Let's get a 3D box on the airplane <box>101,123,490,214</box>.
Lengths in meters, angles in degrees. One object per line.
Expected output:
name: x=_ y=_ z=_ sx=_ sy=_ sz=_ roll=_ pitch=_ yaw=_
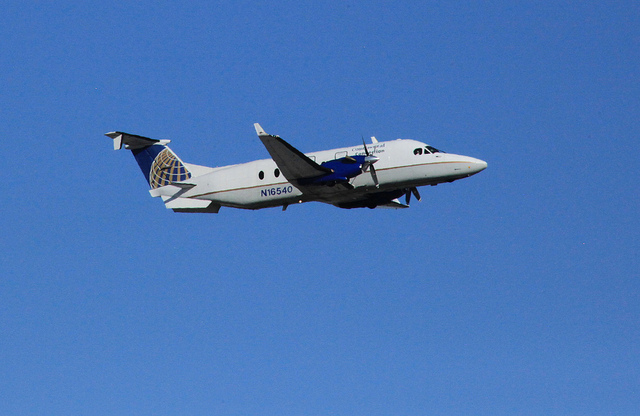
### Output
airplane: x=-0.717 y=-1.592 z=54.832 sx=11.073 sy=4.929 sz=5.143 roll=-1 pitch=11 yaw=2
